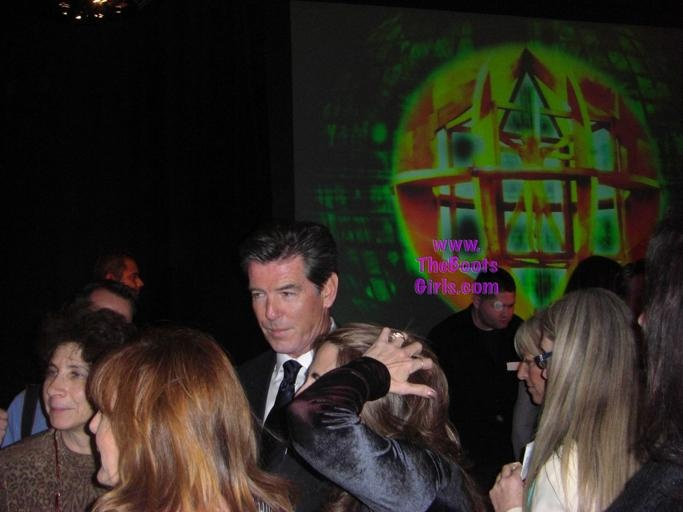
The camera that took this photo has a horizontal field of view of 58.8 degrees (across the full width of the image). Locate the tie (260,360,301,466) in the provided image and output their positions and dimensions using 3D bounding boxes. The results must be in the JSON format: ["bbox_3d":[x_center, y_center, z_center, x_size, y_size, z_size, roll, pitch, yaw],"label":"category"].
[{"bbox_3d":[-0.285,0.784,2.950,0.119,0.598,0.092,18,-32,-8],"label":"tie"}]
